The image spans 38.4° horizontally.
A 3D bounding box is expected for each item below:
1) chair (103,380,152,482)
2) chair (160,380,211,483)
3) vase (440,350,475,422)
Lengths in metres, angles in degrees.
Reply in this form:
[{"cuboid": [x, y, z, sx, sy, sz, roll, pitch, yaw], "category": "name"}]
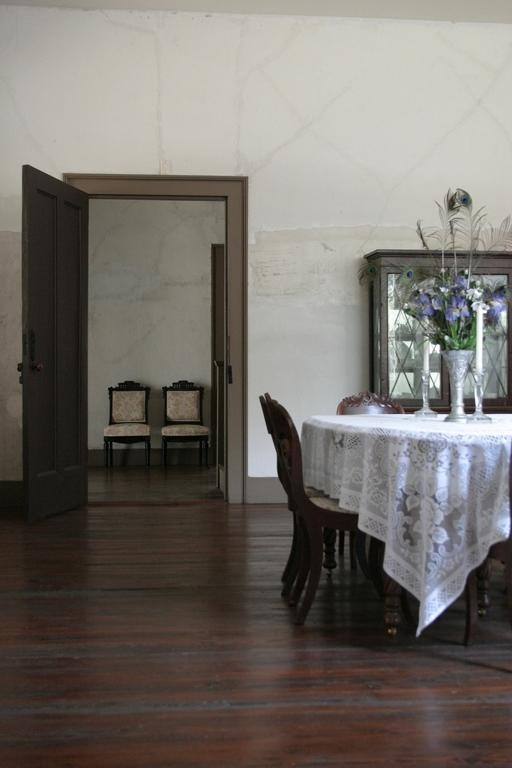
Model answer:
[{"cuboid": [-1.284, 0.392, 7.451, 0.438, 0.866, 0.471, 0, -2, -6], "category": "chair"}, {"cuboid": [-0.719, 0.399, 7.591, 0.480, 0.877, 0.617, 0, 0, -5], "category": "chair"}, {"cuboid": [0.808, 0.003, 2.923, 0.106, 0.276, 0.257, 0, 0, 16], "category": "vase"}]
